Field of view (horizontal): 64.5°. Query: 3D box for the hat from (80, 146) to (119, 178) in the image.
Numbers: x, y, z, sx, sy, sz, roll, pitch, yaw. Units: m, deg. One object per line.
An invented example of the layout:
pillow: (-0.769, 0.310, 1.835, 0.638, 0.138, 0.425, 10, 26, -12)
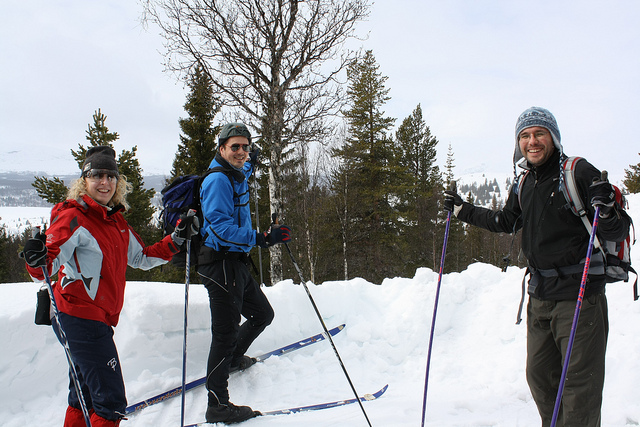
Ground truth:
hat: (-2.633, -0.612, 6.196, 0.391, 0.337, 0.306, -7, -5, 11)

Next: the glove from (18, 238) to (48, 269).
glove: (-3.124, 0.434, 5.594, 0.241, 0.326, 0.137, -44, -28, 17)

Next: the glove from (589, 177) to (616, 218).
glove: (3.155, -0.170, 5.802, 0.282, 0.410, 0.144, 29, -12, -2)

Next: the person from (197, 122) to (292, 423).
person: (-1.151, 0.751, 6.857, 0.931, 3.258, 0.994, 1, 0, -33)

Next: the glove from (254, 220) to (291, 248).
glove: (-0.586, 0.281, 6.709, 0.344, 0.323, 0.124, -10, 11, 15)

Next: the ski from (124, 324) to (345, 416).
ski: (-1.335, 2.319, 7.352, 3.178, 0.239, 0.253, -20, 20, -21)
